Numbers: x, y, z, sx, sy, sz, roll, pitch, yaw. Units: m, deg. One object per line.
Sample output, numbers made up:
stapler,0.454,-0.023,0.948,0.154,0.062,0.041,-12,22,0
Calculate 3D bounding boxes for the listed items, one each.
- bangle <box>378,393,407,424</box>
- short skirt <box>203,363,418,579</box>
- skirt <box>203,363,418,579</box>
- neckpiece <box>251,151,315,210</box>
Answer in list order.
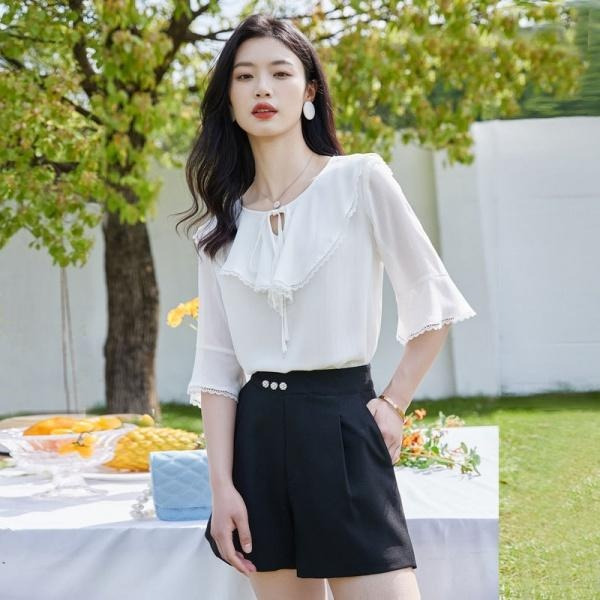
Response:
bangle,0.181,0.208,1.463,0.021,0.054,0.048,-42,-11,-3
short skirt,0.036,0.336,1.488,0.350,0.385,0.179,-3,-1,2
skirt,0.036,0.336,1.488,0.350,0.385,0.179,-3,-1,2
neckpiece,-0.033,-0.250,1.622,0.028,0.106,0.102,16,3,-40
